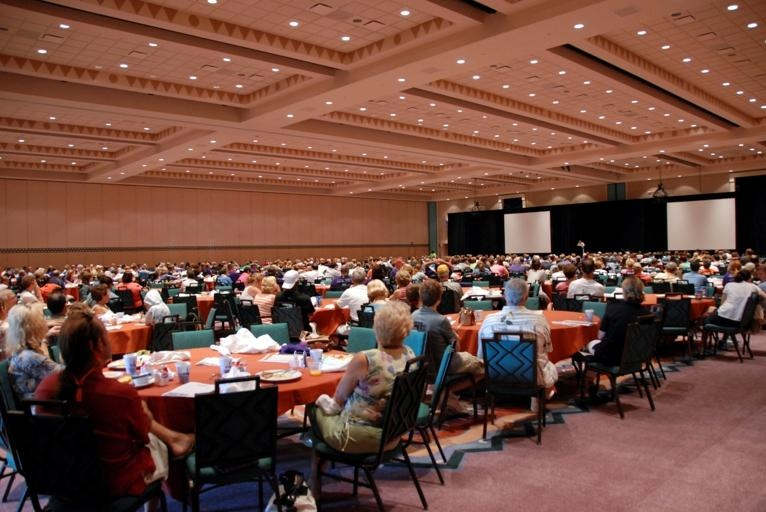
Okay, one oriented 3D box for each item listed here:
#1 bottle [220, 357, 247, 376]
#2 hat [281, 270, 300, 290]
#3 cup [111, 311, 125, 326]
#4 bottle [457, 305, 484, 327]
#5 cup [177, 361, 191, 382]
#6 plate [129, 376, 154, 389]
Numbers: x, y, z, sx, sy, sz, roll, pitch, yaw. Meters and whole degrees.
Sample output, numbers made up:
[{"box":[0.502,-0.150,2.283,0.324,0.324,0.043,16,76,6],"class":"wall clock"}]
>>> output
[{"box":[-1.389,1.048,4.916,0.287,0.166,0.219,4,-6,-34],"class":"bottle"},{"box":[-1.685,0.410,9.161,0.275,0.172,0.369,1,19,12],"class":"hat"},{"box":[-4.276,1.019,8.209,0.187,0.222,0.286,8,7,44],"class":"cup"},{"box":[1.246,0.869,7.241,0.300,0.258,0.303,-5,-40,24],"class":"bottle"},{"box":[-1.880,1.097,4.790,0.101,0.196,0.066,-3,2,-14],"class":"cup"},{"box":[-2.227,1.163,4.702,0.172,0.090,0.115,3,-6,-40],"class":"plate"}]
